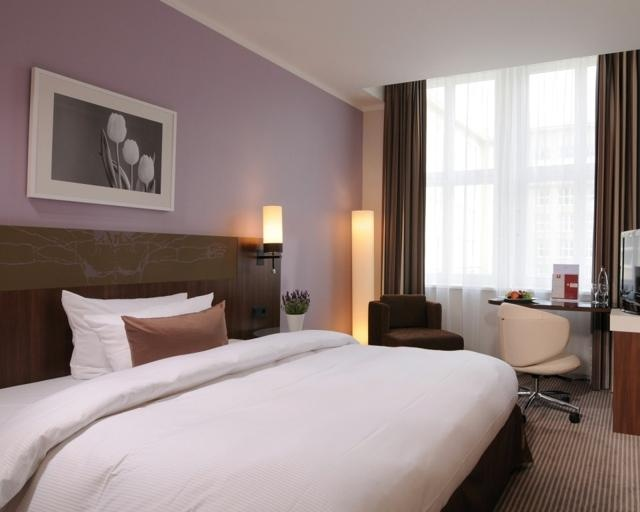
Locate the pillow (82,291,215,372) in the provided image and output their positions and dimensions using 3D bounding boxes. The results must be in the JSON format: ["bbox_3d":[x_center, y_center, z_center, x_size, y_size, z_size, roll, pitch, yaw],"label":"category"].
[{"bbox_3d":[-1.111,0.493,2.939,0.380,0.322,0.737,-1,3,22],"label":"pillow"}]

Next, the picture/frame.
[{"bbox_3d":[-1.506,-0.786,3.025,0.034,0.824,0.998,-2,-4,32],"label":"picture/frame"}]

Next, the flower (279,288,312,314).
[{"bbox_3d":[-0.246,0.464,4.509,0.223,0.287,0.235,-1,1,36],"label":"flower"}]

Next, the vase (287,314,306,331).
[{"bbox_3d":[-0.233,0.639,4.401,0.136,0.170,0.160,2,1,22],"label":"vase"}]
